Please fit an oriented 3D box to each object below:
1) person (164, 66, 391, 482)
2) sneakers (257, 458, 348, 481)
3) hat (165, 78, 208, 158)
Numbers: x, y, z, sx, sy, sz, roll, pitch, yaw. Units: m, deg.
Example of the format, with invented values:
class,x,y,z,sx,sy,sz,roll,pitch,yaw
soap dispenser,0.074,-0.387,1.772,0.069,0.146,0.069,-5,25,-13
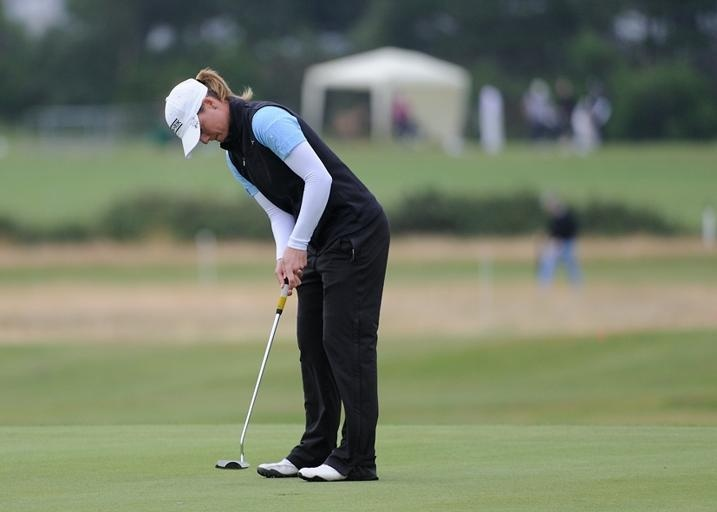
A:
class,x,y,z,sx,sy,sz,roll,pitch,yaw
person,-0.398,0.131,9.257,1.114,2.467,0.404,-1,9,1
sneakers,-0.365,1.324,9.388,0.521,0.203,0.178,3,-9,15
hat,-1.028,-0.834,9.300,0.264,0.427,0.285,18,-22,-16
